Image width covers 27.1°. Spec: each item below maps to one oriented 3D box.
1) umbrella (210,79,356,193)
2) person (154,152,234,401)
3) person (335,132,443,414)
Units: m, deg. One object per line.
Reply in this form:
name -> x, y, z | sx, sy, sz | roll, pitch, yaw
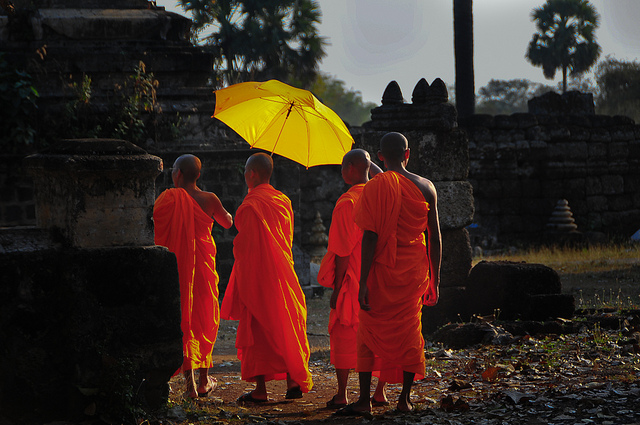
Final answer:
umbrella -> -0.512, -1.214, 18.318 | 1.856, 1.134, 0.377 | 1, 14, 4
person -> -1.704, 0.846, 17.739 | 0.955, 3.072, 1.176 | 0, 14, -2
person -> 0.952, 0.776, 17.203 | 1.119, 3.428, 1.356 | 2, 14, 9
